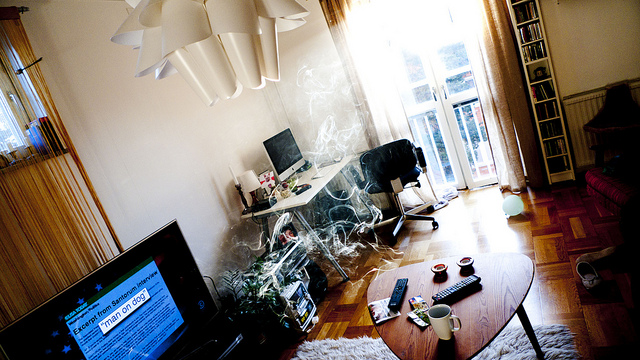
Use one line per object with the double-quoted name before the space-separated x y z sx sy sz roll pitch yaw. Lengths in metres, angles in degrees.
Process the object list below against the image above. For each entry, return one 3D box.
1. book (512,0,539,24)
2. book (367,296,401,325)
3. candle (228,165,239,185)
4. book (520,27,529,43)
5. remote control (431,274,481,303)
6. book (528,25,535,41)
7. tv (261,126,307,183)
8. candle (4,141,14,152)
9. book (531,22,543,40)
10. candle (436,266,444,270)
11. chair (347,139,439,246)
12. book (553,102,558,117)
"book" 2.443 -2.004 4.633 0.256 0.219 0.060 -17 4 21
"book" 0.541 1.108 3.291 0.223 0.084 0.201 -16 16 -5
"candle" -1.063 -0.059 4.726 0.042 0.234 0.178 -21 17 -15
"book" 2.448 -1.738 4.651 0.064 0.173 0.023 -10 18 21
"remote control" 1.125 0.895 3.197 0.543 0.055 0.156 -25 26 -6
"book" 2.525 -1.760 4.634 0.119 0.115 0.027 -11 13 -29
"tv" -0.501 -0.321 5.144 0.195 0.566 0.606 -12 24 34
"candle" -2.720 -0.290 3.391 0.048 0.078 0.037 -27 19 -33
"book" 2.590 -1.773 4.626 0.094 0.193 0.052 -7 19 29
"candle" 1.054 0.776 3.416 0.065 0.012 0.042 -9 16 20
"chair" 0.926 0.085 5.203 1.026 1.188 0.987 -19 13 9
"book" 2.857 -0.857 4.718 0.032 0.166 0.058 -9 18 24
